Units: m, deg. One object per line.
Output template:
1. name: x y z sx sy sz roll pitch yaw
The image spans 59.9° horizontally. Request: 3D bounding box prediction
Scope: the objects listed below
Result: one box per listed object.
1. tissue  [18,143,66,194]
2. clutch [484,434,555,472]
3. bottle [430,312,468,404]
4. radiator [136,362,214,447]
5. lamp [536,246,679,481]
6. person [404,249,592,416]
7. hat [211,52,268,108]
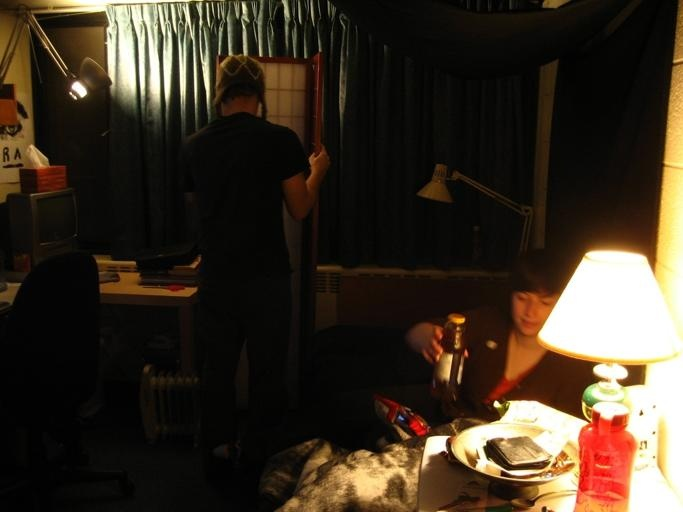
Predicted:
1. tissue : -1.802 -0.509 3.616 0.181 0.334 0.268 3 11 -3
2. clutch: 0.518 0.578 1.723 0.164 0.038 0.210 3 8 -12
3. bottle: 0.395 0.376 2.200 0.090 0.371 0.166 0 6 -11
4. radiator: -0.882 0.809 3.297 0.350 0.536 0.478 0 5 -3
5. lamp: 0.771 0.281 1.769 0.267 0.597 0.338 7 9 42
6. person: 0.704 0.394 2.641 0.474 0.786 0.572 5 12 5
7. hat: -0.481 -0.820 2.817 0.238 0.254 0.153 -4 10 -12
